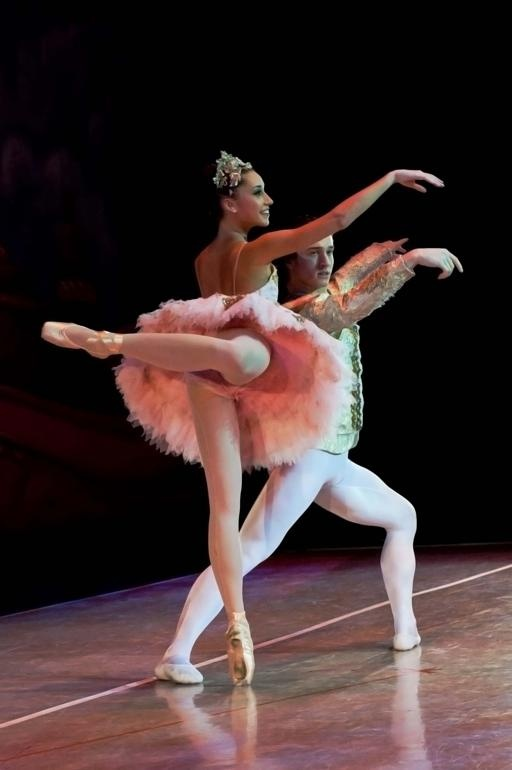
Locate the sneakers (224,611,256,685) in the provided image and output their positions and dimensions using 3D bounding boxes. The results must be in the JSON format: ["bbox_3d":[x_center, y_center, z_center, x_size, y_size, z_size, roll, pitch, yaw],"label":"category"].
[{"bbox_3d":[-0.032,0.538,1.632,0.059,0.142,0.069,-5,-6,21],"label":"sneakers"}]

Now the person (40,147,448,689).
[{"bbox_3d":[0.000,0.093,1.905,0.864,1.304,0.564,-18,18,-39],"label":"person"}]

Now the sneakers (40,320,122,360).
[{"bbox_3d":[-0.387,-0.092,1.655,0.227,0.061,0.064,10,1,17],"label":"sneakers"}]
